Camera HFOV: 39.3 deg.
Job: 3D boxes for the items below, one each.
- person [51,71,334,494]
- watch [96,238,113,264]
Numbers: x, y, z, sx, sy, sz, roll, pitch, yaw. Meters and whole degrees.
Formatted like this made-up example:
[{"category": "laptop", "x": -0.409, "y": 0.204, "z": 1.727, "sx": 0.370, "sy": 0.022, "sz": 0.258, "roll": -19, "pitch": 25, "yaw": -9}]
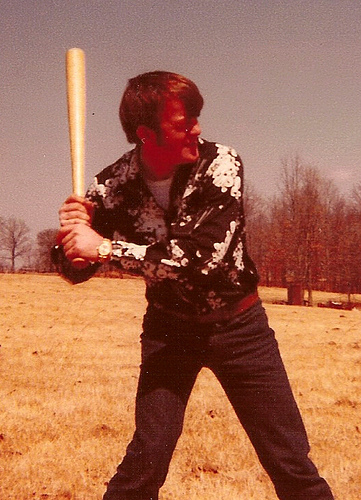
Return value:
[{"category": "person", "x": 0.079, "y": 0.123, "z": 2.165, "sx": 1.090, "sy": 1.808, "sz": 0.498, "roll": 1, "pitch": 4, "yaw": 9}, {"category": "watch", "x": -0.289, "y": 0.004, "z": 1.906, "sx": 0.066, "sy": 0.077, "sz": 0.023, "roll": -5, "pitch": -2, "yaw": -31}]
